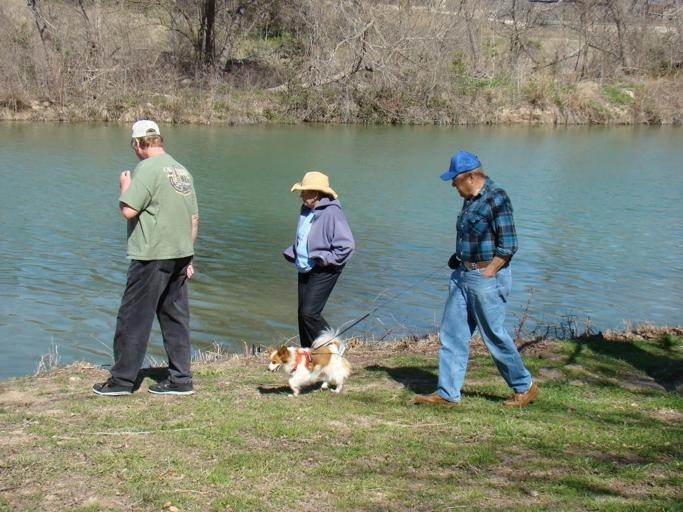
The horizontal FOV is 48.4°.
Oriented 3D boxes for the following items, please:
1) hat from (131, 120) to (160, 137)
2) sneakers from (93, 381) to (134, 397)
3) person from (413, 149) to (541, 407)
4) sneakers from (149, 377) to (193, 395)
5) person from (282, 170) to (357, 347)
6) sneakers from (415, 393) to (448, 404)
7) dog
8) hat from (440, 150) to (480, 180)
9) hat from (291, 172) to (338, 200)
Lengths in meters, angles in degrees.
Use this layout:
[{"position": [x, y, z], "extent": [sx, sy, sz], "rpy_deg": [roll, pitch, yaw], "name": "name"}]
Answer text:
[{"position": [-2.265, -1.441, 8.730], "extent": [0.286, 0.149, 0.216], "rpy_deg": [16, 26, 43], "name": "hat"}, {"position": [-2.645, 1.534, 8.905], "extent": [0.465, 0.192, 0.178], "rpy_deg": [5, 1, 3], "name": "sneakers"}, {"position": [1.559, 0.312, 8.608], "extent": [1.184, 2.906, 0.649], "rpy_deg": [5, 15, 13], "name": "person"}, {"position": [-2.001, 1.554, 9.118], "extent": [0.540, 0.238, 0.197], "rpy_deg": [4, 2, -1], "name": "sneakers"}, {"position": [-0.257, 0.032, 9.569], "extent": [0.662, 2.136, 0.767], "rpy_deg": [-5, 15, -23], "name": "person"}, {"position": [1.047, 1.662, 8.855], "extent": [0.356, 0.144, 0.136], "rpy_deg": [6, -1, 10], "name": "sneakers"}, {"position": [-0.402, 1.306, 9.256], "extent": [1.099, 0.745, 0.354], "rpy_deg": [-6, 7, -32], "name": "dog"}, {"position": [1.322, -1.004, 8.619], "extent": [0.449, 0.256, 0.288], "rpy_deg": [-16, 26, 21], "name": "hat"}, {"position": [-0.273, -0.901, 9.558], "extent": [0.589, 0.251, 0.493], "rpy_deg": [7, 9, -24], "name": "hat"}]
